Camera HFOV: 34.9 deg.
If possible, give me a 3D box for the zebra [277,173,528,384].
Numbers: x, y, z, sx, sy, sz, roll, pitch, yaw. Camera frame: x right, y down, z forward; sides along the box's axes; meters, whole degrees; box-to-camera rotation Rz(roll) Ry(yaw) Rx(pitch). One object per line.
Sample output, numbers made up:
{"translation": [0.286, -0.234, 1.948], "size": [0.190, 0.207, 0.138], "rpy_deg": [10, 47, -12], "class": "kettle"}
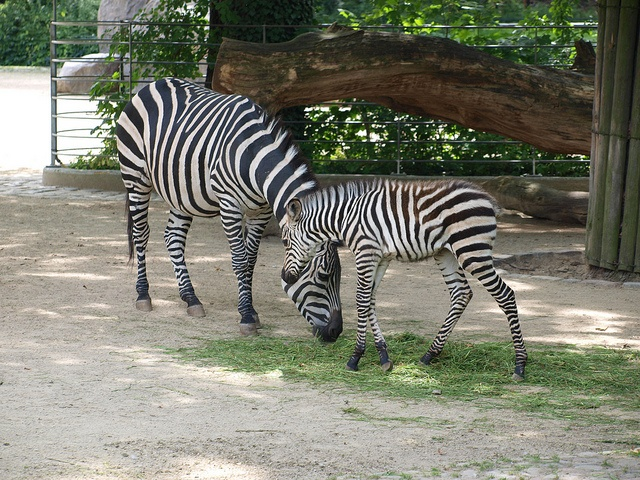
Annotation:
{"translation": [0.673, 0.296, 8.455], "size": [2.094, 1.614, 0.553], "rpy_deg": [1, 8, 5], "class": "zebra"}
